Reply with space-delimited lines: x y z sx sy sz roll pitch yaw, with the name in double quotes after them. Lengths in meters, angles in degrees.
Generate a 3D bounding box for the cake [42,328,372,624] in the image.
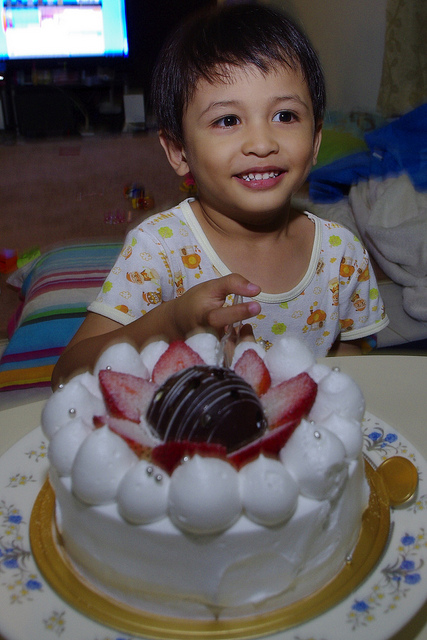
-0.003 0.132 0.542 0.315 0.175 0.309 -4 23 -4 "cake"

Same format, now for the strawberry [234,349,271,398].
0.041 0.053 0.521 0.033 0.025 0.043 18 43 -34 "strawberry"

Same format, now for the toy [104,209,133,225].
-0.465 -0.508 2.516 0.134 0.062 0.105 -3 26 -7 "toy"

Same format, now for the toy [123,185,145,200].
-0.393 -0.623 2.519 0.081 0.061 0.029 1 44 -30 "toy"

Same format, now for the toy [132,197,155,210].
-0.339 -0.578 2.549 0.116 0.057 0.084 -9 28 -17 "toy"
